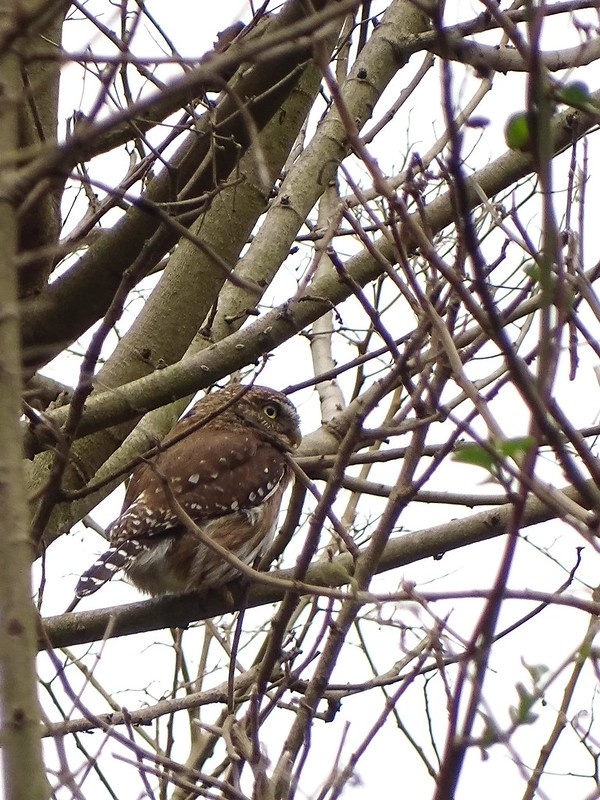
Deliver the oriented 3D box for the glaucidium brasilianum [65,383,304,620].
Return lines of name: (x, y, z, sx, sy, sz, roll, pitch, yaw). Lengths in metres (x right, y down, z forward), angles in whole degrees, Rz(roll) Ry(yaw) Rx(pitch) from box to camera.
glaucidium brasilianum: (-0.443, 0.378, 5.274, 0.935, 1.002, 0.564, 15, -33, -32)
